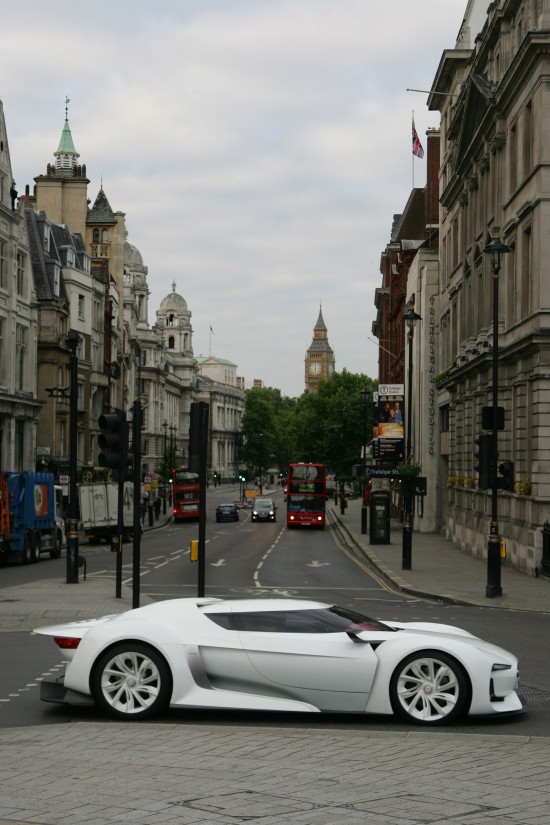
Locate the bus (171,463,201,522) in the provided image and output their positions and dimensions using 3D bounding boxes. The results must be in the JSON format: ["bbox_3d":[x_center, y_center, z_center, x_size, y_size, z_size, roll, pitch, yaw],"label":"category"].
[{"bbox_3d":[-5.425,5.041,67.353,1.466,3.152,2.813,2,-3,-2],"label":"bus"}]

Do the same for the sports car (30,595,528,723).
[{"bbox_3d":[-0.028,2.196,9.704,3.969,1.481,1.876,0,-2,2],"label":"sports car"}]

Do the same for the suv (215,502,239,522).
[{"bbox_3d":[-3.016,6.405,70.841,1.294,1.206,3.185,-1,-8,2],"label":"suv"}]

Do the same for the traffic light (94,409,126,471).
[{"bbox_3d":[-2.480,0.420,16.980,0.463,0.933,2.041,3,-4,-9],"label":"traffic light"}]

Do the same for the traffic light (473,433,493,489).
[{"bbox_3d":[4.145,1.022,21.791,0.346,1.184,0.241,-3,-29,15],"label":"traffic light"}]
